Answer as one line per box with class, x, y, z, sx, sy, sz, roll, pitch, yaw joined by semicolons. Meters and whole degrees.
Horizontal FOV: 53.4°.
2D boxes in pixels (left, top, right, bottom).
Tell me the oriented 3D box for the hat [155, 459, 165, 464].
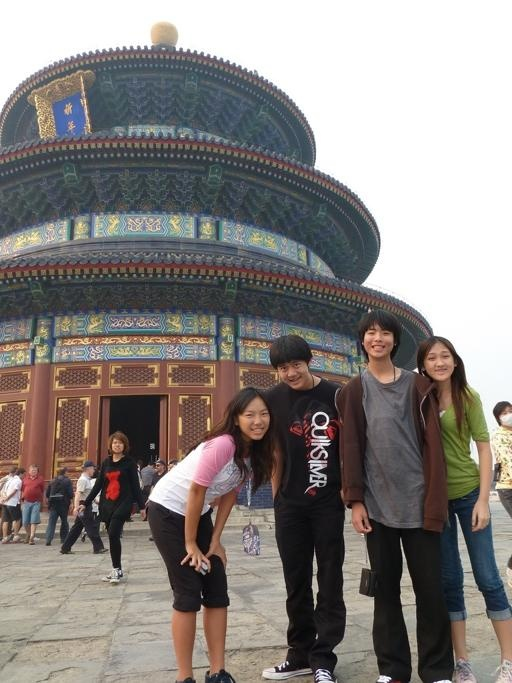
hat;-1.986;2.495;10.730;0.132;0.101;0.165;-4;-8;14
